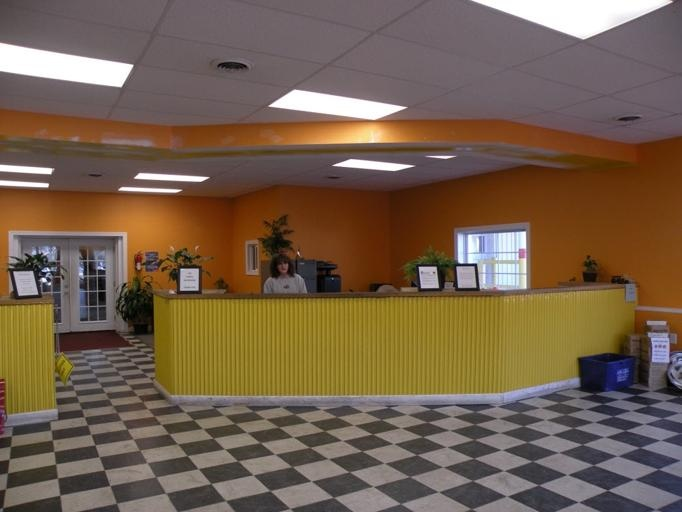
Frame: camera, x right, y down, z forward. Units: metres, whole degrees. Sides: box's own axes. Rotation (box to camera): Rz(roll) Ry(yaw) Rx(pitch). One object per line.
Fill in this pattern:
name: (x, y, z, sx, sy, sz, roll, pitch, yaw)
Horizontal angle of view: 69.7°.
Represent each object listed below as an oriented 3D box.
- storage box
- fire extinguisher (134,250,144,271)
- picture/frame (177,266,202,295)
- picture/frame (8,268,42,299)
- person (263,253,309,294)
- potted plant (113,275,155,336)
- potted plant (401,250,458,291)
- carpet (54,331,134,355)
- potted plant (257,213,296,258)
storage box: (4.134, 1.509, 6.955, 1.459, 0.898, 0.747, 0, -4, -14)
fire extinguisher: (-4.841, 0.136, 11.772, 0.218, 0.482, 0.062, -3, 6, -21)
picture/frame: (-1.940, 0.320, 6.272, 0.425, 0.399, 0.045, 1, -10, -17)
picture/frame: (-3.680, 0.321, 5.716, 0.292, 0.334, 0.247, -4, 6, -33)
person: (-0.876, 0.294, 7.899, 0.858, 0.694, 0.391, -3, 9, -7)
potted plant: (-4.867, 1.176, 11.761, 1.023, 1.213, 0.971, 1, 9, 6)
potted plant: (1.150, 0.145, 7.299, 0.918, 0.553, 0.900, -1, 1, 32)
carpet: (-5.411, 1.842, 10.657, 1.227, 0.165, 2.495, -3, 5, -31)
potted plant: (-1.322, -0.423, 10.888, 1.098, 0.964, 0.946, 1, -6, -1)
